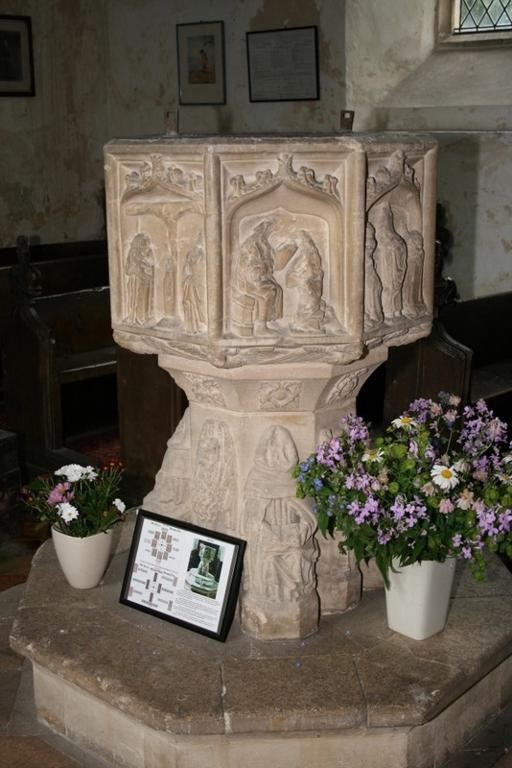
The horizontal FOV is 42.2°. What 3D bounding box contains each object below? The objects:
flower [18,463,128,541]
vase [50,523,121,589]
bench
[{"bbox_3d":[-0.420,0.329,1.751,0.273,0.178,0.241,0,4,34],"label":"flower"},{"bbox_3d":[-0.446,0.449,1.721,0.140,0.143,0.141,-3,1,-30],"label":"vase"},{"bbox_3d":[-0.968,-0.152,3.799,0.277,0.779,0.804,11,19,23],"label":"bench"}]
